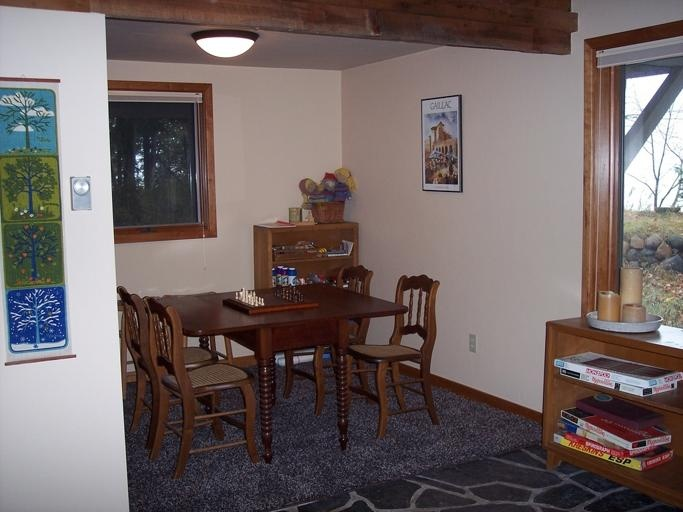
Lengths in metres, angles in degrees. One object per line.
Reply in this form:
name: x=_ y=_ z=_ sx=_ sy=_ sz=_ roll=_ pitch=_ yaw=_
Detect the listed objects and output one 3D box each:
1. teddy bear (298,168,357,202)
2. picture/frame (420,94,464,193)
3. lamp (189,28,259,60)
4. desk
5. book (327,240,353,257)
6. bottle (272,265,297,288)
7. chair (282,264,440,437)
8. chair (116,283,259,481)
teddy bear: x=-0.145 y=-0.748 z=5.497 sx=0.590 sy=0.350 sz=0.235 roll=-1 pitch=8 yaw=-5
picture/frame: x=0.882 y=-0.968 z=4.527 sx=0.091 sy=0.818 sz=0.494 roll=-5 pitch=9 yaw=-28
lamp: x=-0.878 y=-1.622 z=3.917 sx=0.515 sy=0.164 sz=0.300 roll=-2 pitch=8 yaw=-11
desk: x=-0.475 y=0.487 z=3.728 sx=1.287 sy=0.816 sz=1.288 roll=-4 pitch=5 yaw=-31
book: x=-0.010 y=-0.081 z=5.504 sx=0.195 sy=0.124 sz=0.195 roll=-1 pitch=3 yaw=-18
bottle: x=-0.566 y=0.199 z=5.189 sx=0.265 sy=0.241 sz=0.155 roll=3 pitch=-6 yaw=-20
chair: x=0.178 y=0.783 z=4.142 sx=0.465 sy=0.831 sz=1.169 roll=2 pitch=0 yaw=-26
chair: x=-1.070 y=0.776 z=3.552 sx=0.601 sy=1.128 sz=1.070 roll=-6 pitch=10 yaw=-36
